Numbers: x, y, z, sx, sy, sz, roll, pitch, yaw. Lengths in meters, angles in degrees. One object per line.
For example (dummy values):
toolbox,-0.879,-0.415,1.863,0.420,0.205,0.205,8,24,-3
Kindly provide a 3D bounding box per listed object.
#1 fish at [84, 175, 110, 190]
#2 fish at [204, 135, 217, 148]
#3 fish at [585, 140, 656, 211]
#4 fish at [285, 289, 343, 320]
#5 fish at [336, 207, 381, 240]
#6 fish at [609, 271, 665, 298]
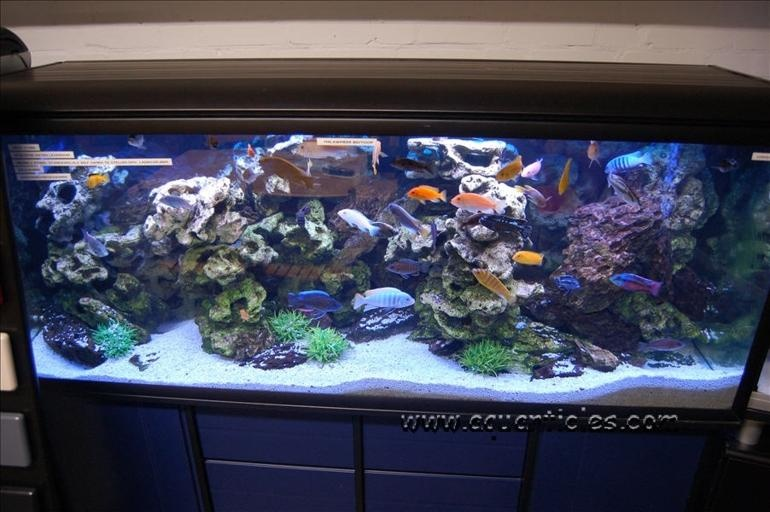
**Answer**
fish,-1.434,-0.370,3.225,0.110,0.075,0.013,1,21,-3
fish,-0.847,-0.556,3.130,0.049,0.044,0.049,5,1,-28
fish,1.170,-0.384,3.138,0.229,0.277,0.065,-3,22,-11
fish,-0.329,0.246,3.381,0.353,0.176,0.105,8,9,-2
fish,-0.133,-0.174,3.314,0.214,0.086,0.043,27,38,-6
fish,1.272,0.135,3.262,0.269,0.100,0.060,14,15,7
